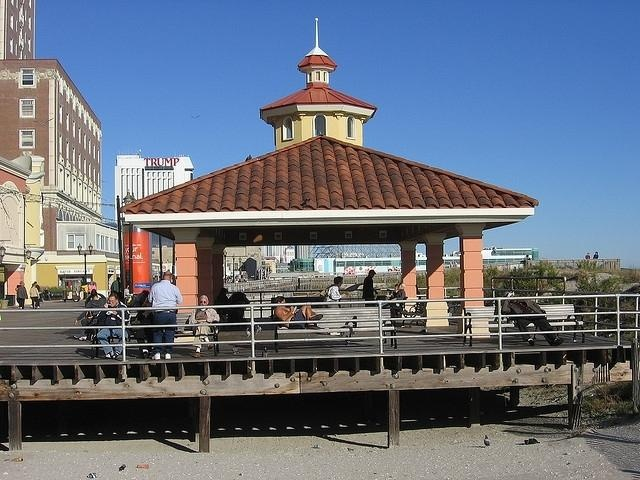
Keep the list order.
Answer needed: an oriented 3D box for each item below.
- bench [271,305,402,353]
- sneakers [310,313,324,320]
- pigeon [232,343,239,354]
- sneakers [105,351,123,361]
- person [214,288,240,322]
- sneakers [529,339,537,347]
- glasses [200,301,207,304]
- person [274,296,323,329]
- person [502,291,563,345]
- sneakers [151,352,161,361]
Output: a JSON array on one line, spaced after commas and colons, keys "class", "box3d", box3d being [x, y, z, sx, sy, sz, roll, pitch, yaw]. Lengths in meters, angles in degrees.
[{"class": "bench", "box3d": [0.810, 2.397, 26.822, 2.508, 0.848, 0.782, 1, 10, 4]}, {"class": "sneakers", "box3d": [-0.077, 2.222, 26.842, 0.393, 0.138, 0.154, -5, -5, -34]}, {"class": "pigeon", "box3d": [-2.460, 3.159, 27.112, 0.269, 0.372, 0.123, -1, -34, -2]}, {"class": "sneakers", "box3d": [-5.840, 3.299, 26.518, 0.229, 0.263, 0.631, -2, 5, -35]}, {"class": "person", "box3d": [-3.033, 2.148, 30.523, 0.456, 1.233, 0.890, 3, 5, -27]}, {"class": "sneakers", "box3d": [6.277, 3.023, 27.448, 0.169, 0.165, 0.190, -5, 1, 9]}, {"class": "glasses", "box3d": [-3.399, 1.837, 27.363, 0.129, 0.078, 0.145, 0, -5, 3]}, {"class": "person", "box3d": [-0.735, 2.200, 27.405, 1.672, 1.091, 0.705, -7, -6, 6]}, {"class": "person", "box3d": [6.157, 2.286, 27.520, 1.404, 1.049, 2.542, -6, 19, -11]}, {"class": "sneakers", "box3d": [-4.611, 3.263, 26.094, 0.162, 0.187, 0.443, 1, 2, -11]}]
